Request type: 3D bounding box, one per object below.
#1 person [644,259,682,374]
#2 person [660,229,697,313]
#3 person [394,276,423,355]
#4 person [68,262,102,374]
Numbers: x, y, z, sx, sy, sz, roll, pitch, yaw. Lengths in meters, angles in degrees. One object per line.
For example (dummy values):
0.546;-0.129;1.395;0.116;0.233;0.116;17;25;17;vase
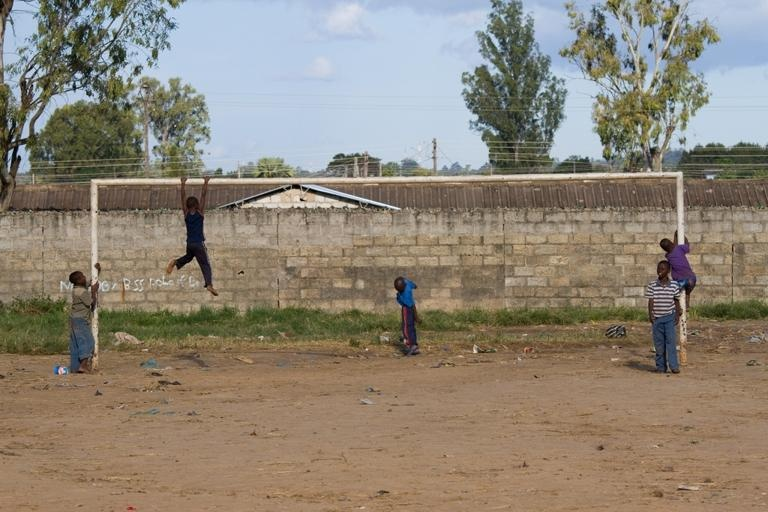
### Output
7.566;1.656;46.816;1.013;3.077;0.764;4;16;38;person
8.278;0.433;48.718;1.021;2.400;0.965;0;0;1;person
0.670;1.648;49.074;0.759;2.218;0.967;-3;10;2;person
-8.149;1.799;47.364;0.945;2.921;1.001;-1;-2;-28;person
